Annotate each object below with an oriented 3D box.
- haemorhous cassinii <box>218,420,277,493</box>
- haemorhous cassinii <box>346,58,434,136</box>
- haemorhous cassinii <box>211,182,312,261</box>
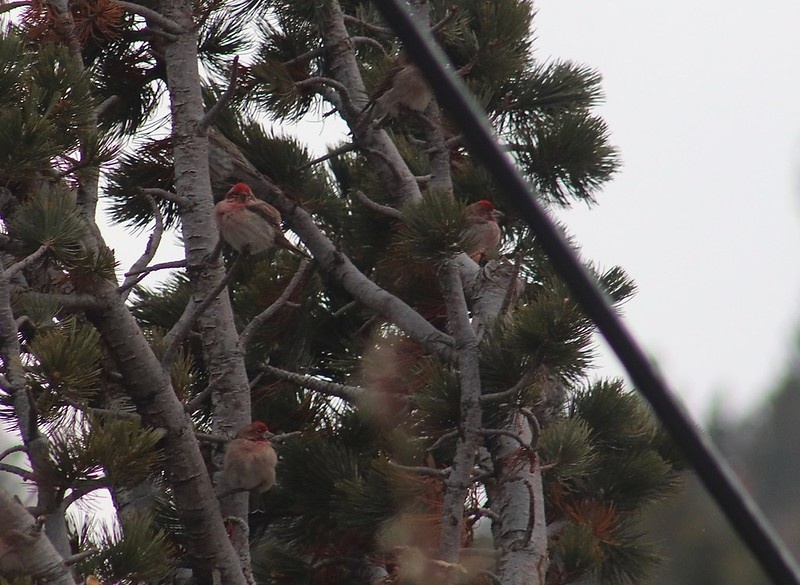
[{"bbox_3d":[-0.924,1.052,11.063,0.325,0.496,0.269,5,-30,-6],"label":"haemorhous cassinii"},{"bbox_3d":[-0.043,-1.241,11.865,0.590,0.370,0.670,-3,-47,9],"label":"haemorhous cassinii"},{"bbox_3d":[-0.842,-0.423,11.438,0.676,0.477,0.398,15,-16,-22],"label":"haemorhous cassinii"}]
